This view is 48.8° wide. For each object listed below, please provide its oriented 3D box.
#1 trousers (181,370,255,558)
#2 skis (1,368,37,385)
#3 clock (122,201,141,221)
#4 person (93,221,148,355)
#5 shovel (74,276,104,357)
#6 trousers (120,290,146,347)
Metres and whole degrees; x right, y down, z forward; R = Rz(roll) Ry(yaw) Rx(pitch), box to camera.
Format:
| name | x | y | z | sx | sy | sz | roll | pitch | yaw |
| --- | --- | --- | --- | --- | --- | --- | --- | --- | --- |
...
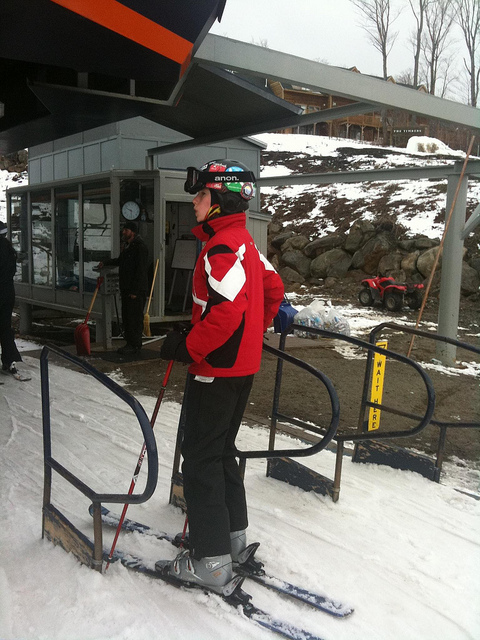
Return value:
| name | x | y | z | sx | sy | sz | roll | pitch | yaw |
| --- | --- | --- | --- | --- | --- | --- | --- | --- | --- |
| trousers | -0.101 | 0.576 | 2.163 | 0.277 | 0.739 | 0.327 | 4 | 4 | 6 |
| skis | -2.585 | 0.688 | 6.271 | 0.488 | 0.201 | 0.150 | -7 | 14 | 25 |
| clock | -1.754 | -1.747 | 8.551 | 0.333 | 0.359 | 0.048 | 3 | -11 | -2 |
| person | -1.604 | -0.452 | 7.885 | 0.430 | 1.933 | 0.337 | 4 | 4 | -2 |
| shovel | -2.238 | -0.082 | 7.930 | 0.364 | 1.149 | 1.087 | 3 | 4 | -15 |
| trousers | -1.610 | -0.020 | 7.944 | 0.354 | 0.846 | 0.305 | 2 | 4 | -17 |
